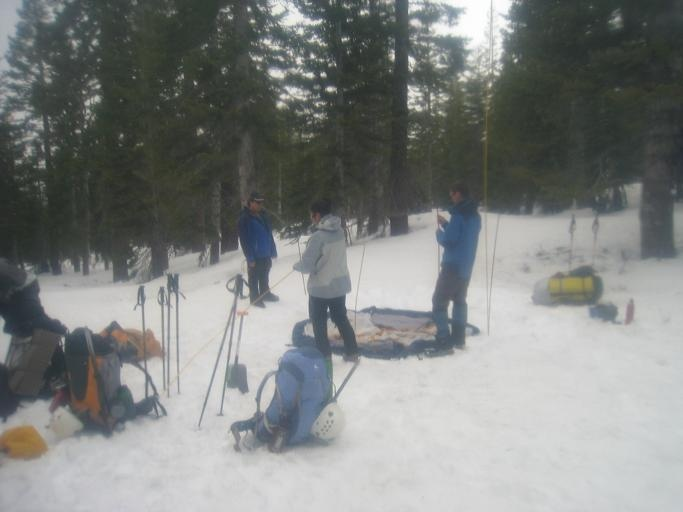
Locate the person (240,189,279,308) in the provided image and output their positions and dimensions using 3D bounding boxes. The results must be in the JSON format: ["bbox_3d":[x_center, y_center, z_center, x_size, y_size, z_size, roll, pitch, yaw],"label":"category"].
[{"bbox_3d":[-1.693,-0.177,12.719,0.412,2.159,0.776,1,5,43],"label":"person"}]

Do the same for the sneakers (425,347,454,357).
[{"bbox_3d":[1.586,1.542,10.376,0.497,0.161,0.260,-3,3,-3],"label":"sneakers"}]

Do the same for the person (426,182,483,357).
[{"bbox_3d":[1.915,0.169,10.571,0.798,2.712,0.475,-2,3,1],"label":"person"}]

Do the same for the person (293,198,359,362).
[{"bbox_3d":[-0.216,0.406,10.092,0.925,2.564,0.518,-4,4,-36],"label":"person"}]
